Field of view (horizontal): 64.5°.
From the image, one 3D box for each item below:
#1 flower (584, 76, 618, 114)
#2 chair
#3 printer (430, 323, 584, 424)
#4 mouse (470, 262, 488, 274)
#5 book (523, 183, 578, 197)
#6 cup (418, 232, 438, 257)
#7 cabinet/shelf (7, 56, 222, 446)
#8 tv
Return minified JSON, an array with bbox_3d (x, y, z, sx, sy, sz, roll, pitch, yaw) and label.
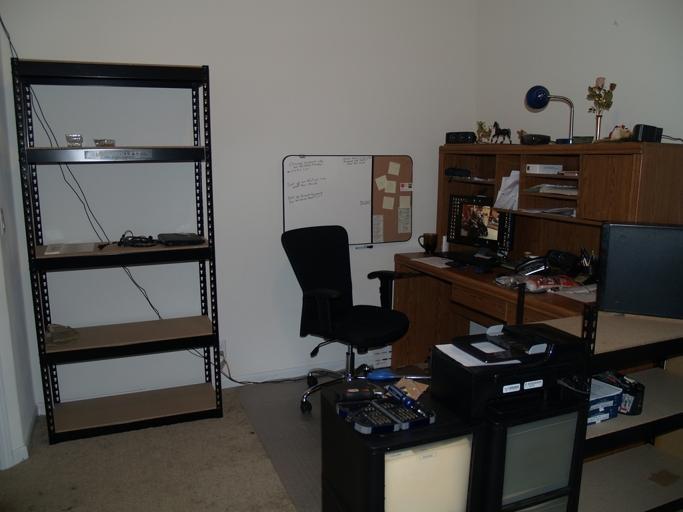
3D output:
[{"bbox_3d":[1.793,-1.105,3.739,0.149,0.243,0.444,4,17,27],"label":"flower"},{"bbox_3d":[0.047,0.468,3.956,0.838,1.245,0.813,10,15,40],"label":"chair"},{"bbox_3d":[0.760,0.517,2.524,0.640,0.285,0.413,-4,11,-26],"label":"printer"},{"bbox_3d":[0.996,0.093,3.932,0.123,0.046,0.126,11,22,43],"label":"mouse"},{"bbox_3d":[1.468,-0.450,3.714,0.122,0.059,0.398,-13,18,-29],"label":"book"},{"bbox_3d":[0.691,-0.108,4.516,0.192,0.192,0.127,-2,13,-5],"label":"cup"},{"bbox_3d":[-1.465,-0.057,3.725,1.355,2.504,0.718,-7,15,-12],"label":"cabinet/shelf"},{"bbox_3d":[1.084,-0.194,4.161,0.120,0.454,0.505,-3,9,-36],"label":"tv"}]
